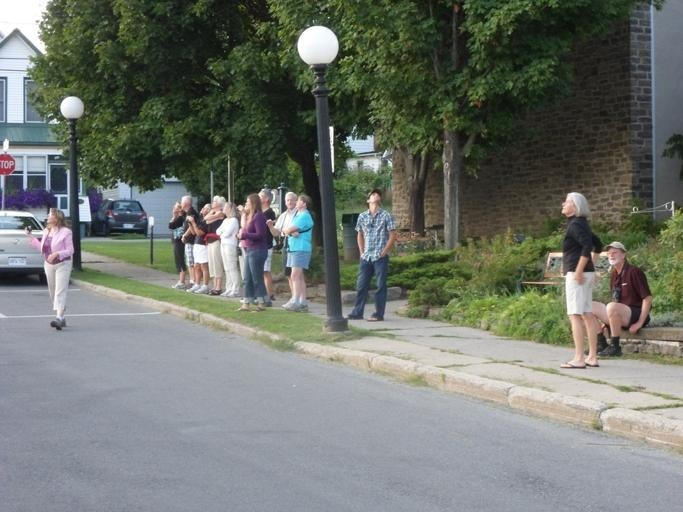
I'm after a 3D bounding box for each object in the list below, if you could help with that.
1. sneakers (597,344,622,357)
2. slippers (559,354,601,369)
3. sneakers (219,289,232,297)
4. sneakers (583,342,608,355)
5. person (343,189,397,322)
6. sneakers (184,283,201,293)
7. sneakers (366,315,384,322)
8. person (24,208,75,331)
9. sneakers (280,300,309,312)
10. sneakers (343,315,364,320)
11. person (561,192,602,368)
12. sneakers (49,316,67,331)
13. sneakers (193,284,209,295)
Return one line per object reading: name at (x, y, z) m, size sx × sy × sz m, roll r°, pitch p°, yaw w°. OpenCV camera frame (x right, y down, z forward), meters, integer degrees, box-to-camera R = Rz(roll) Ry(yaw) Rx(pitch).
sneakers at (3.983, 1.406, 15.025) m, size 0.344 × 0.154 × 0.145 m, roll 3°, pitch -3°, yaw -8°
slippers at (3.353, 1.477, 14.251) m, size 0.358 × 0.132 × 0.238 m, roll 1°, pitch -1°, yaw 26°
sneakers at (-2.433, 0.794, 21.880) m, size 0.139 × 0.178 × 0.406 m, roll 5°, pitch -1°, yaw -34°
sneakers at (3.800, 1.384, 15.198) m, size 0.475 × 0.191 × 0.162 m, roll 3°, pitch -4°, yaw -9°
person at (0.570, -0.021, 18.225) m, size 0.792 × 2.303 × 0.722 m, roll -2°, pitch 11°, yaw -7°
sneakers at (-3.368, 0.729, 23.002) m, size 0.402 × 0.166 × 0.147 m, roll -1°, pitch -4°, yaw 32°
sneakers at (0.622, 1.121, 18.131) m, size 0.212 × 0.084 × 0.116 m, roll 6°, pitch -9°, yaw -29°
person at (-5.140, 0.191, 18.193) m, size 0.688 × 1.978 × 1.517 m, roll -4°, pitch 12°, yaw -17°
sneakers at (-0.858, 0.950, 19.315) m, size 0.526 × 0.227 × 0.177 m, roll 6°, pitch -5°, yaw -20°
sneakers at (0.244, 1.091, 18.193) m, size 0.303 × 0.092 × 0.112 m, roll 4°, pitch -4°, yaw -20°
person at (3.390, 0.352, 14.262) m, size 0.574 × 2.398 × 0.729 m, roll 2°, pitch 11°, yaw 13°
sneakers at (-4.957, 1.190, 17.828) m, size 0.186 × 0.159 × 0.432 m, roll -7°, pitch -2°, yaw -17°
sneakers at (-3.078, 0.747, 22.689) m, size 0.407 × 0.168 × 0.148 m, roll 0°, pitch -3°, yaw 12°
